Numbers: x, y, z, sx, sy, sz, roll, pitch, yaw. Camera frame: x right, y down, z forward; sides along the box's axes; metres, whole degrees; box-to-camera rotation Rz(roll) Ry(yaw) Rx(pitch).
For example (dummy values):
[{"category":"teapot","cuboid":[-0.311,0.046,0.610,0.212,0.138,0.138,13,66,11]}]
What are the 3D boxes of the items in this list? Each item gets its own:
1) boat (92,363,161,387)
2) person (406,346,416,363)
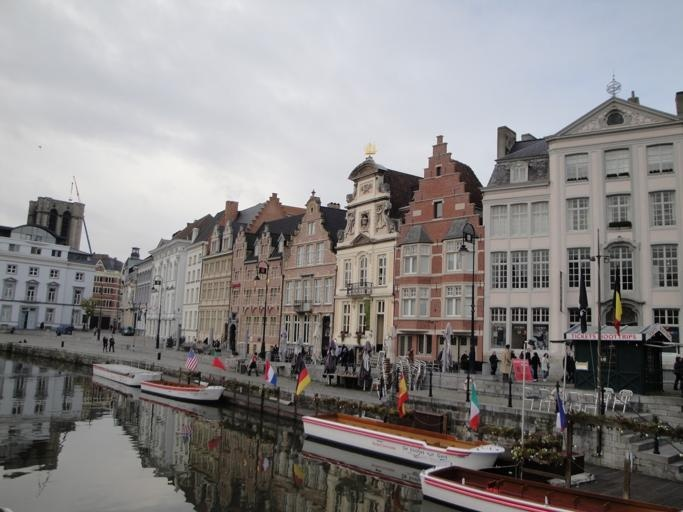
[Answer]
[{"category":"boat","cuboid":[-20.374,10.910,51.752,2.689,1.235,8.399,6,-11,-36]},{"category":"person","cuboid":[5.470,7.714,43.737,0.564,1.902,0.991,-1,10,18]}]
